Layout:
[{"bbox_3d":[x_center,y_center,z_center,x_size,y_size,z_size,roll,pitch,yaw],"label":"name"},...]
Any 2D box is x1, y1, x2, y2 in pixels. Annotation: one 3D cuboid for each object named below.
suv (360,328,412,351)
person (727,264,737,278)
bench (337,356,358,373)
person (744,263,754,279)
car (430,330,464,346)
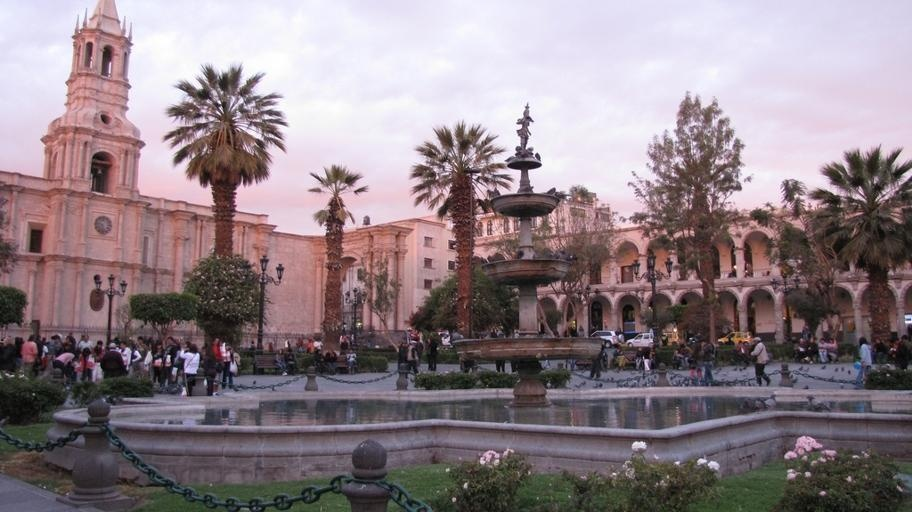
[{"bbox_3d":[-5.786,6.710,68.795,4.163,1.352,3.267,-6,-8,33],"label":"suv"},{"bbox_3d":[23.329,1.212,72.527,0.593,1.346,2.666,-3,-8,12],"label":"person"},{"bbox_3d":[-6.359,6.285,50.007,1.746,1.034,0.897,2,4,0],"label":"bench"},{"bbox_3d":[24.608,1.079,72.165,0.709,1.265,1.172,-4,-9,20],"label":"person"},{"bbox_3d":[-1.204,5.770,59.034,2.093,0.873,3.087,-8,-16,41],"label":"car"}]
